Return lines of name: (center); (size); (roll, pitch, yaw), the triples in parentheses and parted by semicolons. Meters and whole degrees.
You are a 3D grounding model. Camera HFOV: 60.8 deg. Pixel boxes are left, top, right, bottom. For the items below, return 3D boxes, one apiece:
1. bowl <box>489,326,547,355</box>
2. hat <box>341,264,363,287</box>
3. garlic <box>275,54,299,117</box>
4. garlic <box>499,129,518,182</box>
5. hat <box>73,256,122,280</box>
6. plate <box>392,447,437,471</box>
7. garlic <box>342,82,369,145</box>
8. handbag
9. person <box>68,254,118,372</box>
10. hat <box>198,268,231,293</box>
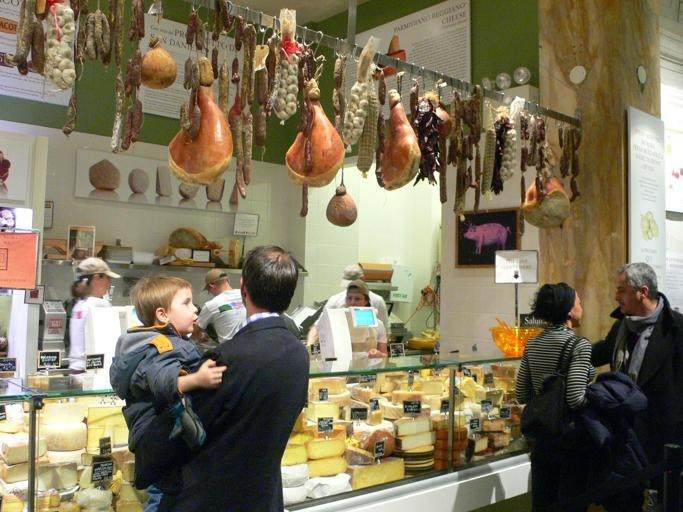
bowl: (1.094, 0.551, 3.726); (0.255, 0.172, 0.271); (0, -8, 0)
hat: (0.087, 0.191, 5.383); (0.148, 0.123, 0.227); (-4, -15, -13)
garlic: (-0.253, -0.789, 2.716); (0.107, 0.278, 0.060); (-1, -2, -8)
garlic: (0.988, -0.598, 3.462); (0.097, 0.303, 0.215); (-2, -2, 15)
hat: (-1.798, 0.075, 4.325); (0.263, 0.149, 0.172); (-2, 2, -30)
plate: (0.385, 1.036, 2.959); (0.144, 0.074, 0.148); (1, -3, -17)
garlic: (0.060, -0.696, 2.886); (0.125, 0.324, 0.131); (-1, -2, -20)
handbag: (1.117, 0.671, 3.066); (0.288, 0.549, 0.279); (4, 4, 33)
person: (-1.861, 0.601, 4.380); (0.337, 1.180, 0.373); (7, 13, -10)
hat: (-1.006, 0.186, 4.631); (0.162, 0.148, 0.224); (-17, 9, -37)
